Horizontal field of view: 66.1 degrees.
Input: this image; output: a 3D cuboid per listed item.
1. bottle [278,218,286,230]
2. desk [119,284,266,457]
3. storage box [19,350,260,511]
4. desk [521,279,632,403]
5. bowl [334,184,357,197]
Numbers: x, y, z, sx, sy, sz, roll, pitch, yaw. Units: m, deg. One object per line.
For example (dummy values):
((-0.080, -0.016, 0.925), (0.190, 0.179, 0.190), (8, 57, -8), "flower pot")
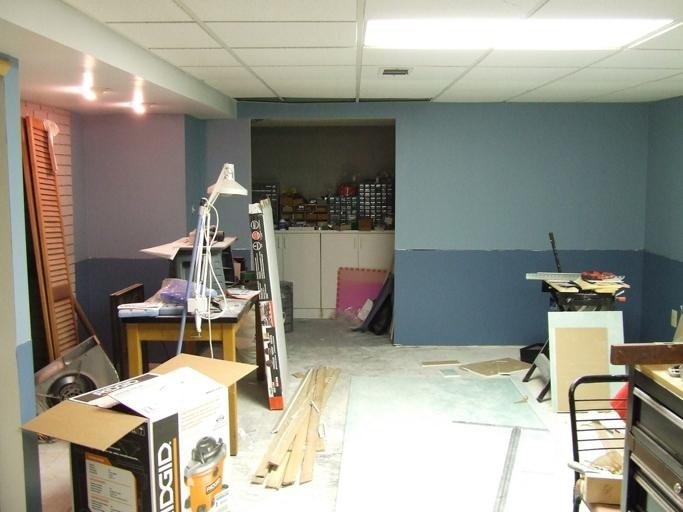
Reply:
((-0.896, -0.486, 7.897), (0.130, 0.133, 0.125), (0, 1, -7), "bottle")
((-1.580, 1.089, 5.143), (0.984, 0.960, 1.985), (2, -6, -16), "desk")
((-1.325, 1.168, 3.403), (0.542, 0.511, 1.052), (5, 9, 19), "storage box")
((2.377, 0.912, 5.620), (1.076, 1.388, 1.377), (1, 3, 9), "desk")
((0.075, -1.038, 8.250), (0.301, 0.191, 0.387), (-3, 11, -13), "bowl")
